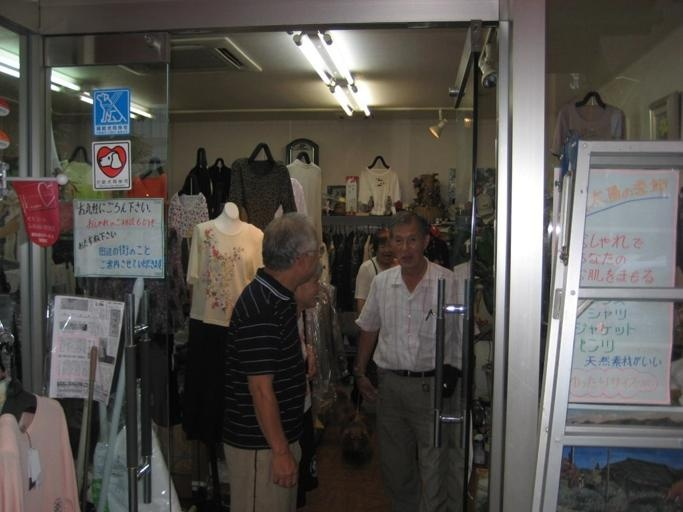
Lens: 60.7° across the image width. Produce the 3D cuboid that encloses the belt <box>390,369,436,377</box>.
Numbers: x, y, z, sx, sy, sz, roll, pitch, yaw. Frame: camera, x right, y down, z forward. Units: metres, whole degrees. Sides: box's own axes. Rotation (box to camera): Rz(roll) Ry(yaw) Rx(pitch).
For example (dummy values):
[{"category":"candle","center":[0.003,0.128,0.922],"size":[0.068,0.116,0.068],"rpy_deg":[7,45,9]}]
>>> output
[{"category":"belt","center":[0.347,0.581,2.923],"size":[0.222,0.039,0.033],"rpy_deg":[1,2,14]}]

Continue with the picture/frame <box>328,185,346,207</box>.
[{"category":"picture/frame","center":[-0.038,-0.574,5.425],"size":[0.199,0.237,0.121],"rpy_deg":[0,-8,7]}]

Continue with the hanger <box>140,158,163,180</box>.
[{"category":"hanger","center":[-0.794,-0.374,2.472],"size":[0.071,0.108,0.025],"rpy_deg":[12,7,3]}]

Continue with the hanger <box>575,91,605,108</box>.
[{"category":"hanger","center":[0.994,-0.626,2.328],"size":[0.140,0.068,0.005],"rpy_deg":[0,2,-13]}]

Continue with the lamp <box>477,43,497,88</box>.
[{"category":"lamp","center":[0.581,-0.759,2.322],"size":[0.056,0.175,0.110],"rpy_deg":[1,2,7]}]

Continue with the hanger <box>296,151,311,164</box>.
[{"category":"hanger","center":[-0.262,-0.693,4.071],"size":[0.068,0.109,0.229],"rpy_deg":[0,2,0]}]

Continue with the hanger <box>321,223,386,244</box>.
[{"category":"hanger","center":[0.085,-0.211,5.296],"size":[0.639,0.268,0.199],"rpy_deg":[1,0,6]}]
